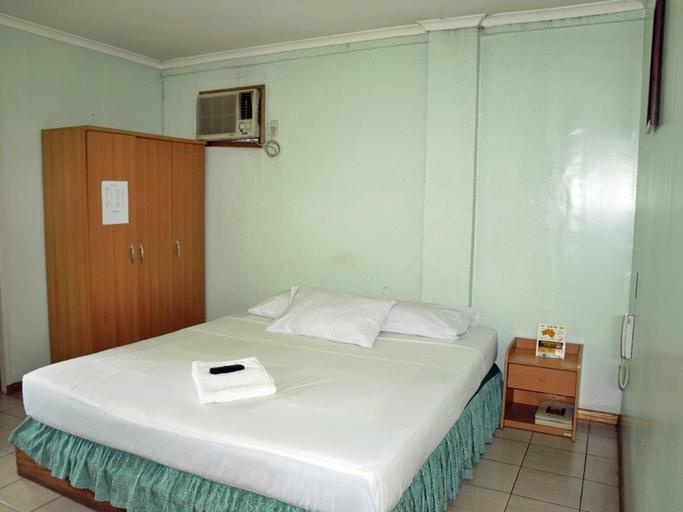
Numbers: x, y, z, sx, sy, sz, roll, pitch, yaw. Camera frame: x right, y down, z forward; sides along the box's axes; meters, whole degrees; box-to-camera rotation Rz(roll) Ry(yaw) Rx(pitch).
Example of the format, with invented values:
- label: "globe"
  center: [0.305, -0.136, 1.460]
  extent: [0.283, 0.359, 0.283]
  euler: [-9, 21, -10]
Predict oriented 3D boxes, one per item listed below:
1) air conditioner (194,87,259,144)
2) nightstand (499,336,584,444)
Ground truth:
- label: "air conditioner"
  center: [-1.111, -1.378, 5.099]
  extent: [0.729, 0.514, 0.170]
  euler: [3, 10, 27]
- label: "nightstand"
  center: [1.556, 1.007, 3.997]
  extent: [0.538, 0.635, 0.505]
  euler: [3, 10, 26]
